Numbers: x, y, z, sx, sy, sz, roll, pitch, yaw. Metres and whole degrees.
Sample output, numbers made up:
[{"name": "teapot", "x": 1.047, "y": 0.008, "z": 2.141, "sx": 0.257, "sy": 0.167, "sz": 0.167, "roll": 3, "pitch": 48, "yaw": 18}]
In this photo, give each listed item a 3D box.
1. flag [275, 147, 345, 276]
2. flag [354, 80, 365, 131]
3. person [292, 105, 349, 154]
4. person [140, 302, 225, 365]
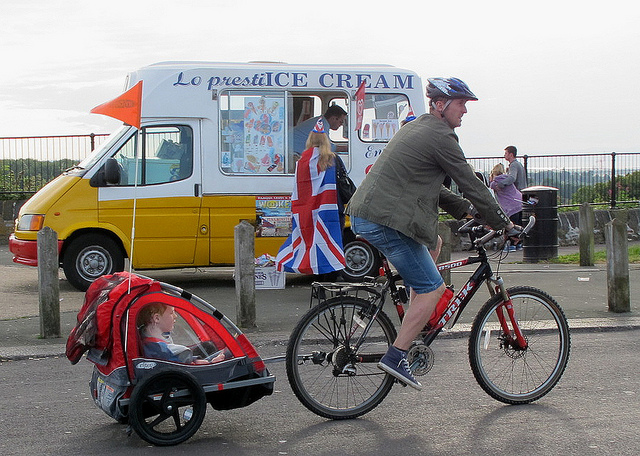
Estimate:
[{"name": "flag", "x": -0.125, "y": -0.216, "z": 10.094, "sx": 0.995, "sy": 1.814, "sz": 0.166, "roll": -4, "pitch": -17, "yaw": 17}, {"name": "flag", "x": 0.670, "y": -2.064, "z": 12.596, "sx": 0.189, "sy": 0.807, "sz": 0.115, "roll": -2, "pitch": 4, "yaw": 1}, {"name": "person", "x": 0.030, "y": -1.723, "z": 12.744, "sx": 1.123, "sy": 0.756, "sz": 0.771, "roll": -2, "pitch": 15, "yaw": -7}, {"name": "person", "x": -1.129, "y": 0.850, "z": 6.022, "sx": 0.785, "sy": 0.575, "sz": 0.539, "roll": 3, "pitch": -2, "yaw": -23}]
